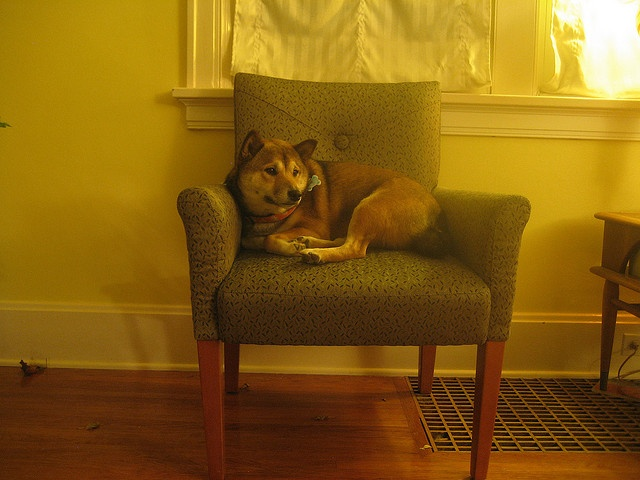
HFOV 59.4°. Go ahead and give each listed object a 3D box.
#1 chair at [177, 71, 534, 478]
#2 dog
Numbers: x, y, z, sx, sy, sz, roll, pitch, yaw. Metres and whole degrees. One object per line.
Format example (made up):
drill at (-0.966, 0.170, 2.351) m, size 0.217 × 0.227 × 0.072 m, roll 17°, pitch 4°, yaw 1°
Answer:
chair at (0.111, 0.104, 2.148) m, size 1.193 × 1.327 × 0.793 m, roll 2°, pitch 19°, yaw 0°
dog at (0.057, -0.117, 2.140) m, size 0.691 × 0.386 × 0.497 m, roll 8°, pitch 12°, yaw -20°
